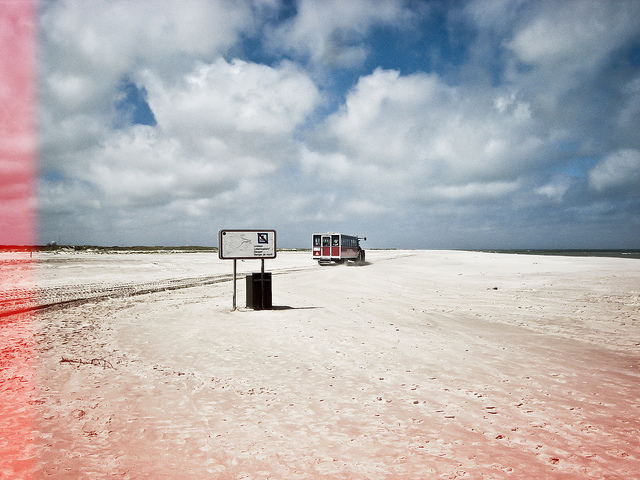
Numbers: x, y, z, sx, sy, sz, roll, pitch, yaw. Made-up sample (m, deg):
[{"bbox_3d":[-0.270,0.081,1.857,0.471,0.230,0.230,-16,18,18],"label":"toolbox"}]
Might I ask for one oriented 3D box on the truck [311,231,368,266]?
[{"bbox_3d":[2.338,0.904,50.713,2.795,2.672,8.606,0,0,21],"label":"truck"}]
